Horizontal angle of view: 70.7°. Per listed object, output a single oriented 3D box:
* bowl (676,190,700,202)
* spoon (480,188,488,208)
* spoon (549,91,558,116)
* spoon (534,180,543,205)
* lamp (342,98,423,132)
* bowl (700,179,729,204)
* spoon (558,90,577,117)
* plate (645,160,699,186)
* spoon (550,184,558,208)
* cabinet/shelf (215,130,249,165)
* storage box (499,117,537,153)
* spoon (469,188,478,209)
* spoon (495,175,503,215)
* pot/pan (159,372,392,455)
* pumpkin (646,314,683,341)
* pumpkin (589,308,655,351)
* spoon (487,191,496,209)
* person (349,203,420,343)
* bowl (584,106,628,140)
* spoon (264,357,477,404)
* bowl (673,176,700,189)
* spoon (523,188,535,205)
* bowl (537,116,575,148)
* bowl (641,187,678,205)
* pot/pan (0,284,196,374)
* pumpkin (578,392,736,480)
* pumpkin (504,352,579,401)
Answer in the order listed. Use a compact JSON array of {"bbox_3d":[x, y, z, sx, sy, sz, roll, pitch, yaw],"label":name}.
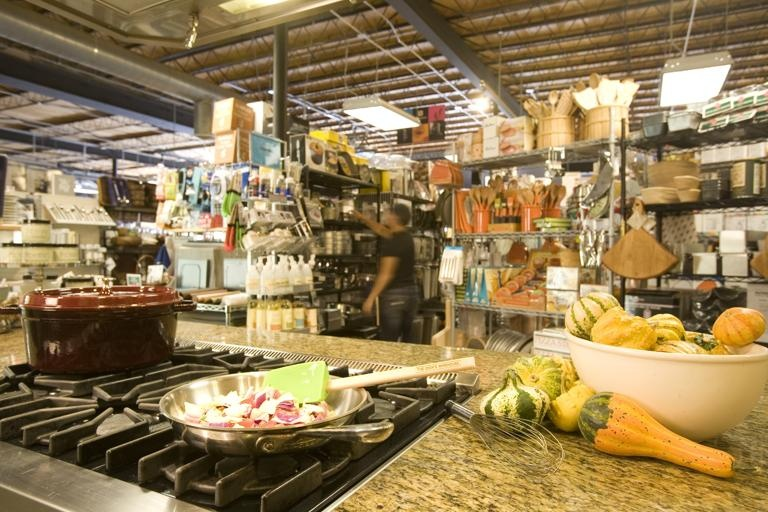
[{"bbox_3d":[2.317,-0.455,4.144,0.132,0.048,0.114,-2,4,-20],"label":"bowl"},{"bbox_3d":[0.927,-0.535,4.947,0.086,0.162,0.040,-1,-4,7],"label":"spoon"},{"bbox_3d":[1.445,-1.315,4.630,0.066,0.227,0.041,3,-11,22],"label":"spoon"},{"bbox_3d":[1.347,-0.541,4.728,0.091,0.196,0.187,-2,2,15],"label":"spoon"},{"bbox_3d":[-0.006,-1.808,6.964,0.547,0.100,0.975,2,-2,30],"label":"lamp"},{"bbox_3d":[2.456,-0.474,4.074,0.187,0.167,0.298,1,3,41],"label":"bowl"},{"bbox_3d":[1.514,-1.277,4.574,0.179,0.057,0.263,-1,-18,-2],"label":"spoon"},{"bbox_3d":[2.260,-0.655,4.251,0.317,0.137,0.272,-4,6,-19],"label":"plate"},{"bbox_3d":[1.443,-0.519,4.655,0.077,0.179,0.062,3,13,1],"label":"spoon"},{"bbox_3d":[-1.263,-0.907,4.491,0.280,0.296,0.210,-2,2,-14],"label":"cabinet/shelf"},{"bbox_3d":[1.205,-1.069,4.835,0.177,0.335,0.315,-4,3,-39],"label":"storage box"},{"bbox_3d":[0.832,-0.533,5.014,0.062,0.167,0.038,-16,-15,33],"label":"spoon"},{"bbox_3d":[1.063,-0.551,4.914,0.113,0.357,0.083,7,-17,-9],"label":"spoon"},{"bbox_3d":[-0.359,0.398,1.435,0.455,0.054,0.256,1,9,19],"label":"pot/pan"},{"bbox_3d":[0.843,0.212,1.615,0.123,0.035,0.072,5,39,-9],"label":"pumpkin"},{"bbox_3d":[0.672,0.207,1.558,0.159,0.069,0.130,1,14,1],"label":"pumpkin"},{"bbox_3d":[0.986,-0.514,4.960,0.064,0.171,0.054,-1,-28,27],"label":"spoon"},{"bbox_3d":[0.037,0.189,5.039,0.526,1.312,0.604,-2,2,0],"label":"person"},{"bbox_3d":[1.780,-1.066,4.394,0.355,0.191,0.336,-1,5,0],"label":"bowl"},{"bbox_3d":[-0.067,0.355,1.602,0.642,0.067,0.195,-7,9,7],"label":"spoon"},{"bbox_3d":[2.330,-0.562,4.170,0.182,0.114,0.119,-1,2,20],"label":"bowl"},{"bbox_3d":[1.246,-0.508,4.675,0.044,0.134,0.087,-4,3,-39],"label":"spoon"},{"bbox_3d":[1.449,-1.039,4.574,0.304,0.279,0.160,-1,2,14],"label":"bowl"},{"bbox_3d":[2.144,-0.470,4.236,0.224,0.063,0.206,0,-2,0],"label":"bowl"},{"bbox_3d":[-0.973,0.257,1.849,0.674,0.199,0.357,-1,7,-11],"label":"pot/pan"},{"bbox_3d":[0.699,0.478,1.522,0.450,0.161,0.162,13,-34,31],"label":"pumpkin"},{"bbox_3d":[0.496,0.356,1.680,0.174,0.074,0.150,-14,26,-17],"label":"pumpkin"}]
